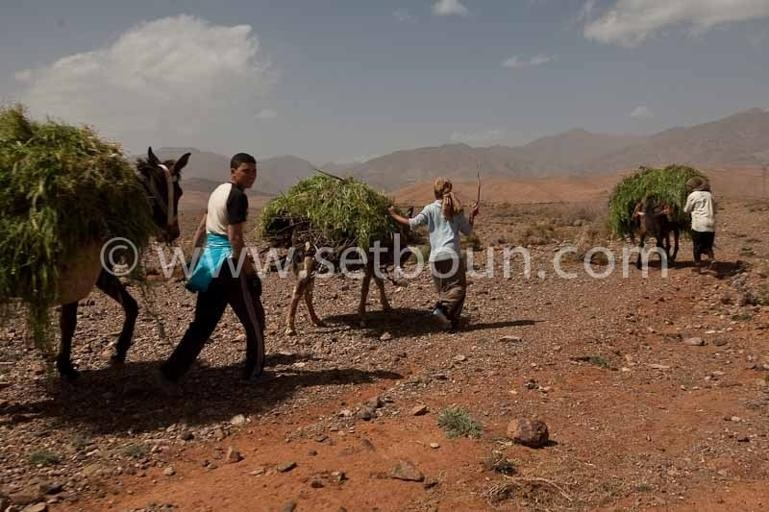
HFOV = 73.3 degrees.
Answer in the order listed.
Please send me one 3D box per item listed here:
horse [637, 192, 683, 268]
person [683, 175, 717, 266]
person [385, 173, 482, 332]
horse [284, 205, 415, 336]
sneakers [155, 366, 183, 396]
[{"bbox_3d":[6.944,-0.656,13.165,1.003,1.734,1.361,0,3,29],"label":"horse"},{"bbox_3d":[7.167,-0.791,11.817,0.577,2.040,0.702,0,3,29],"label":"person"},{"bbox_3d":[1.055,-0.008,9.288,1.365,2.726,0.600,-2,3,-4],"label":"person"},{"bbox_3d":[-0.590,0.242,9.354,2.762,1.972,0.761,0,-5,22],"label":"horse"},{"bbox_3d":[-2.999,1.815,7.290,0.294,0.372,0.125,-19,15,16],"label":"sneakers"}]
